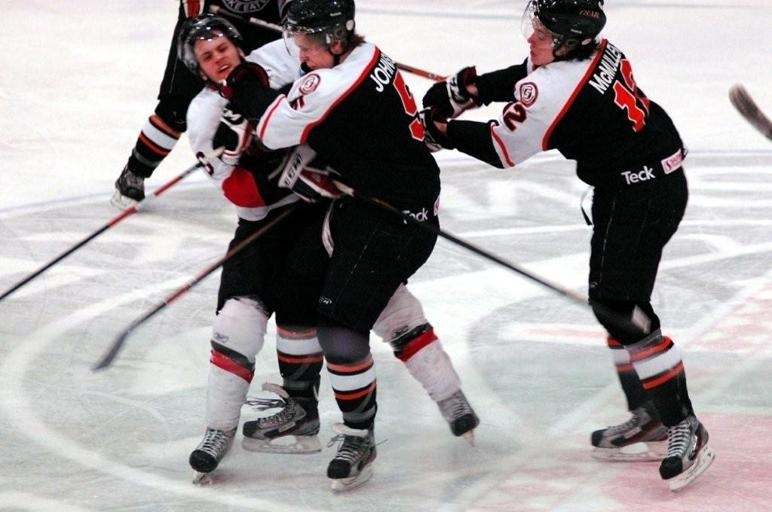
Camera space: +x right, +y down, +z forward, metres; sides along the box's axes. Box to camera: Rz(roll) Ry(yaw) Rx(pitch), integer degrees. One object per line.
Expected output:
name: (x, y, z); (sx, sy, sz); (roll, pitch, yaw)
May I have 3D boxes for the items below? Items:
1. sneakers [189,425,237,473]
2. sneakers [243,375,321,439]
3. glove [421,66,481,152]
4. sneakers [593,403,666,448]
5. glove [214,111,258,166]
sneakers: (-0.682, 0.757, 3.035); (0.092, 0.084, 0.237); (27, 14, -3)
sneakers: (-0.483, 0.669, 3.263); (0.420, 0.207, 0.138); (4, -4, -42)
glove: (0.236, -0.618, 3.374); (0.276, 0.140, 0.507); (9, -21, -16)
sneakers: (0.935, 0.700, 3.221); (0.484, 0.149, 0.118); (-3, 23, -2)
glove: (-0.581, -0.464, 3.072); (0.186, 0.206, 0.097); (10, 25, 2)
